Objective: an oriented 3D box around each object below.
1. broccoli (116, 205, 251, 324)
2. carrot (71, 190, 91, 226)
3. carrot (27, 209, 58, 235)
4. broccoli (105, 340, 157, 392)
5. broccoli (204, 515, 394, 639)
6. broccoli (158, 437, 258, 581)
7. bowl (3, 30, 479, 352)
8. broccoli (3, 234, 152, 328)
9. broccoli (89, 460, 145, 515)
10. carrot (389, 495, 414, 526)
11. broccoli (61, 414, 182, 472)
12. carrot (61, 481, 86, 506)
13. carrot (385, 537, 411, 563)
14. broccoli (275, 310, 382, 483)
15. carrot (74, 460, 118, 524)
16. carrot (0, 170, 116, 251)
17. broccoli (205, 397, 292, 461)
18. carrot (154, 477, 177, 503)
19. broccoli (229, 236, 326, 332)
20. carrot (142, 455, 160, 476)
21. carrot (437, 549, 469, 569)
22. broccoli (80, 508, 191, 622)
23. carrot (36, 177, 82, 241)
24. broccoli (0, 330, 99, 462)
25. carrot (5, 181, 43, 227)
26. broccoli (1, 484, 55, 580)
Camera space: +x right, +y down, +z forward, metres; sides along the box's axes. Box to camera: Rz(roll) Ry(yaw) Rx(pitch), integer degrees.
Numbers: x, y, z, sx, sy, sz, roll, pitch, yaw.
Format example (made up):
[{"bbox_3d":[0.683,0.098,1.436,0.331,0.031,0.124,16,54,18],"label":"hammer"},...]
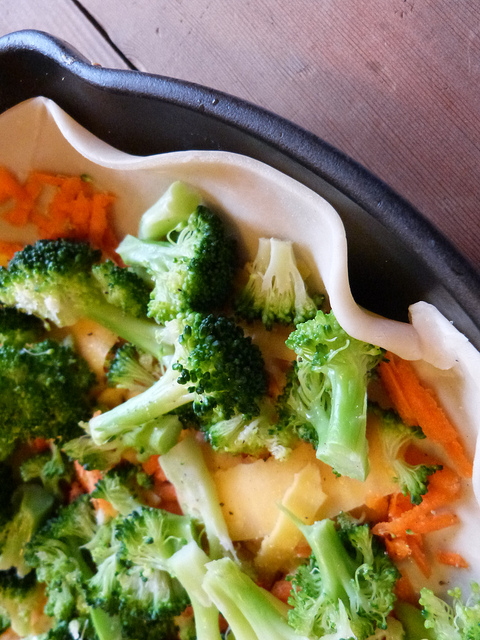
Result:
[{"bbox_3d":[-0.126,-0.123,1.259,0.215,0.144,0.259,-37,61,-14],"label":"broccoli"},{"bbox_3d":[-0.351,-0.246,1.338,0.041,0.067,0.016,10,22,7],"label":"carrot"},{"bbox_3d":[-0.445,-0.225,1.385,0.077,0.039,0.020,40,33,6],"label":"carrot"},{"bbox_3d":[-0.239,0.102,1.396,0.099,0.120,0.097,2,94,-2],"label":"broccoli"},{"bbox_3d":[0.132,0.455,1.197,0.282,0.120,0.268,-32,77,10],"label":"broccoli"},{"bbox_3d":[-0.080,0.369,1.326,0.128,0.105,0.365,-27,82,12],"label":"broccoli"},{"bbox_3d":[-0.063,-0.404,1.191,1.350,0.363,0.228,28,69,31],"label":"bowl"},{"bbox_3d":[-0.368,-0.076,1.343,0.307,0.115,0.179,18,85,-13],"label":"broccoli"},{"bbox_3d":[-0.282,0.368,1.357,0.103,0.038,0.093,49,27,9],"label":"broccoli"},{"bbox_3d":[0.305,0.365,1.178,0.054,0.015,0.048,-8,87,4],"label":"carrot"},{"bbox_3d":[-0.277,0.285,1.312,0.244,0.166,0.082,-19,85,-46],"label":"broccoli"},{"bbox_3d":[-0.404,0.413,1.470,0.055,0.068,0.023,42,29,28],"label":"carrot"},{"bbox_3d":[0.303,0.445,1.185,0.049,0.048,0.018,66,20,-10],"label":"carrot"},{"bbox_3d":[0.163,0.128,1.110,0.182,0.233,0.301,0,29,-5],"label":"broccoli"},{"bbox_3d":[-0.306,0.396,1.383,0.099,0.140,0.034,-2,16,17],"label":"carrot"},{"bbox_3d":[-0.400,-0.255,1.350,0.340,0.156,0.027,15,26,13],"label":"carrot"},{"bbox_3d":[0.013,0.220,1.209,0.167,0.069,0.118,-8,66,-7],"label":"broccoli"},{"bbox_3d":[-0.165,0.378,1.356,0.060,0.042,0.014,37,25,21],"label":"carrot"},{"bbox_3d":[0.070,-0.069,1.288,0.223,0.186,0.179,7,19,22],"label":"broccoli"},{"bbox_3d":[-0.197,0.326,1.361,0.055,0.048,0.014,7,16,13],"label":"carrot"},{"bbox_3d":[0.401,0.454,1.157,0.044,0.024,0.010,1,28,37],"label":"carrot"},{"bbox_3d":[-0.225,0.534,1.333,0.239,0.111,0.299,-11,32,-19],"label":"broccoli"},{"bbox_3d":[-0.408,-0.254,1.407,0.123,0.319,0.028,-25,83,-22],"label":"carrot"},{"bbox_3d":[-0.424,0.165,1.336,0.227,0.110,0.249,-12,88,-29],"label":"broccoli"},{"bbox_3d":[-0.484,-0.263,1.377,0.067,0.105,0.025,11,27,1],"label":"carrot"},{"bbox_3d":[-0.503,0.486,1.421,0.137,0.049,0.193,-7,76,25],"label":"broccoli"}]
